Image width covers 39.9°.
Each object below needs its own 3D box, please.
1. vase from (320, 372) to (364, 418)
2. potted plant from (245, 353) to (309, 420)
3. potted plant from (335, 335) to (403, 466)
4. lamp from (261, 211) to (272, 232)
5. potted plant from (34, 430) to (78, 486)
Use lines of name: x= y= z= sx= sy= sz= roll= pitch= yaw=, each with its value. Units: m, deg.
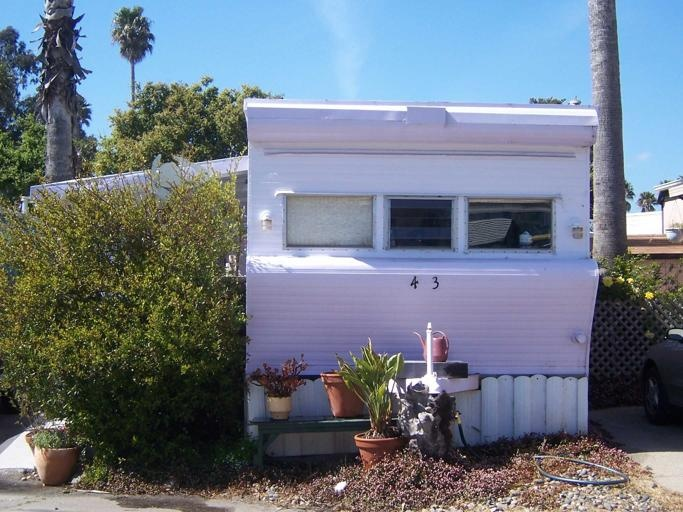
vase: x=0.027 y=2.040 z=13.816 sx=0.561 sy=0.502 sz=0.606 roll=0 pitch=-2 yaw=-6
potted plant: x=-0.934 y=1.974 z=14.000 sx=0.740 sy=0.973 sz=0.916 roll=3 pitch=-1 yaw=6
potted plant: x=0.471 y=2.119 z=13.530 sx=0.965 sy=1.735 sz=0.977 roll=-2 pitch=-2 yaw=21
lamp: x=-1.139 y=-0.545 z=14.400 sx=0.197 sy=0.407 sz=0.216 roll=-1 pitch=-2 yaw=12
potted plant: x=-4.121 y=2.990 z=13.846 sx=0.621 sy=0.795 sz=0.668 roll=0 pitch=-11 yaw=-8
